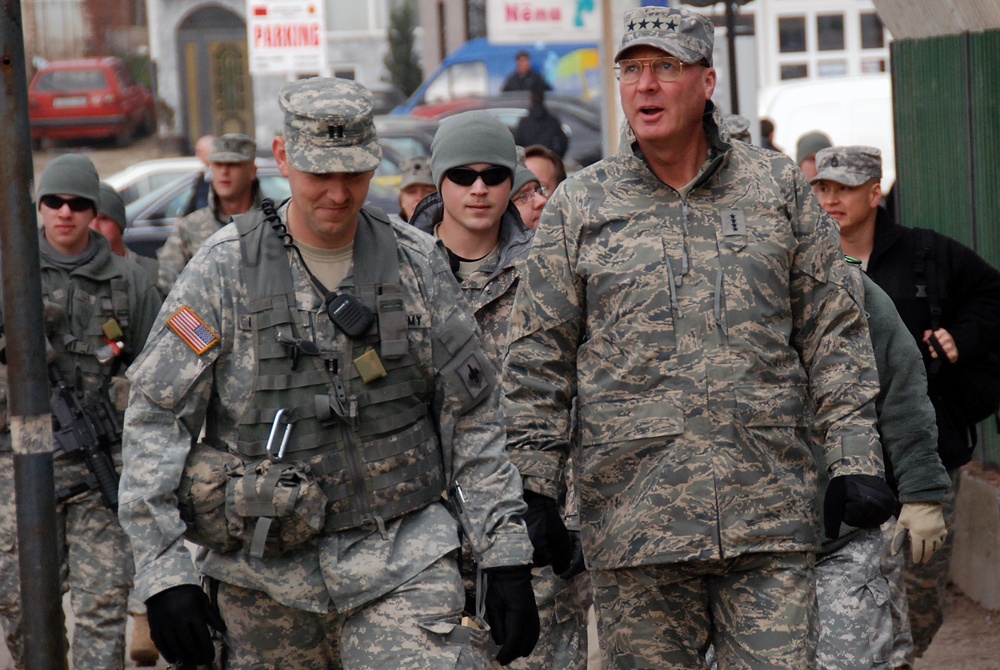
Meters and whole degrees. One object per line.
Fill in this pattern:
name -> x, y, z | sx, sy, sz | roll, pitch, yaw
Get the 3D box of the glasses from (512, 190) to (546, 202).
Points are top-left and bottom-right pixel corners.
glasses -> 0.169, -0.849, 10.478 | 0.118, 0.034, 0.119 | -19, -10, 42

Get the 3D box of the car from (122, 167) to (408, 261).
car -> -2.214, -1.141, 15.792 | 2.689, 0.855, 1.220 | -3, -2, -5

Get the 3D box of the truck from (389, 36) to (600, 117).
truck -> 0.043, -3.872, 25.391 | 2.650, 1.290, 1.317 | 1, 7, 2

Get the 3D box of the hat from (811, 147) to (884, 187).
hat -> 2.077, -0.990, 10.146 | 0.329, 0.158, 0.252 | 2, -3, -39

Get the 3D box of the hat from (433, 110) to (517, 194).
hat -> -0.132, -1.056, 9.819 | 0.504, 0.481, 0.638 | -5, 2, -12

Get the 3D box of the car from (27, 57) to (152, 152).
car -> -3.579, -1.979, 14.317 | 0.966, 0.747, 1.602 | -3, 13, 6

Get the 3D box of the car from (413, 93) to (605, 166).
car -> 0.028, -2.781, 22.145 | 2.621, 0.866, 1.187 | 2, 7, 6

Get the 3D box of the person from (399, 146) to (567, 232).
person -> -0.047, -0.934, 10.911 | 0.692, 0.804, 0.887 | 5, 2, 2

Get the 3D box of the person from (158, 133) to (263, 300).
person -> -2.205, -0.946, 12.996 | 0.872, 0.606, 1.842 | -1, 0, -12

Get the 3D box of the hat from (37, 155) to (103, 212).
hat -> -2.738, -0.942, 10.792 | 0.360, 0.290, 0.367 | -3, -14, -1

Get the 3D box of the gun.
gun -> -2.430, 0.579, 9.947 | 0.436, 0.933, 0.159 | -17, -9, -13

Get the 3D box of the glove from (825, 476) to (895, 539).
glove -> 1.634, 0.789, 7.870 | 0.345, 0.264, 0.316 | -2, -9, -36
